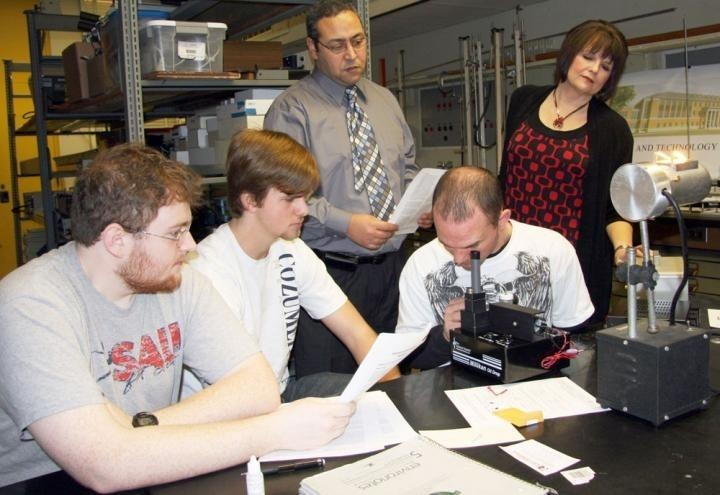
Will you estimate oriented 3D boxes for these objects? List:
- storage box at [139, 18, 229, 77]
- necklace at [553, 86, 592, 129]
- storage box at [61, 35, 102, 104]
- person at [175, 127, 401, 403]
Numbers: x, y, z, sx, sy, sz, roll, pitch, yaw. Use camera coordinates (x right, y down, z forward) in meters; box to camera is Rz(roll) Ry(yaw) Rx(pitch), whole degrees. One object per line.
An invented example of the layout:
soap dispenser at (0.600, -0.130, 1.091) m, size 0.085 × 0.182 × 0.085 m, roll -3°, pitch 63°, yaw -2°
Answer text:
storage box at (-0.964, -1.081, 3.142) m, size 0.456 × 0.311 × 0.345 m, roll -5°, pitch 9°, yaw -21°
necklace at (1.014, -0.699, 2.793) m, size 0.121 × 0.203 × 0.043 m, roll 24°, pitch -2°, yaw 14°
storage box at (-2.042, -1.291, 4.214) m, size 0.151 × 0.434 × 0.847 m, roll -7°, pitch 10°, yaw -32°
person at (-0.415, -0.039, 2.593) m, size 0.946 × 1.183 × 0.845 m, roll 3°, pitch 13°, yaw 23°
